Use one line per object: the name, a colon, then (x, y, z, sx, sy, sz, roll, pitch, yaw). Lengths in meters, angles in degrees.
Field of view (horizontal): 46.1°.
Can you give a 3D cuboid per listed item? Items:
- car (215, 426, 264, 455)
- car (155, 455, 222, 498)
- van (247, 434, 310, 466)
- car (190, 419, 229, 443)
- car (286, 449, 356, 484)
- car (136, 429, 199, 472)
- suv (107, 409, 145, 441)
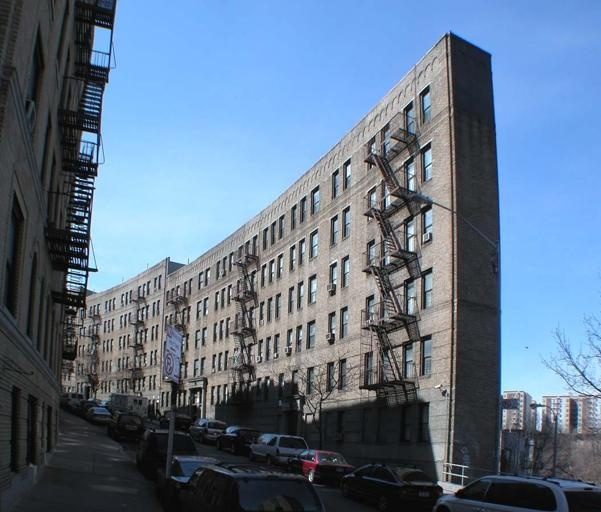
car: (-3.401, 10.133, 38.778, 1.240, 1.002, 2.785, 9, -19, -18)
car: (-3.092, 5.737, 18.827, 1.262, 0.983, 2.757, 7, -15, -19)
van: (-1.096, 9.026, 33.279, 1.403, 0.999, 2.659, 8, -16, -19)
car: (-5.898, 11.158, 45.372, 1.400, 1.063, 2.949, 7, -13, -23)
car: (0.788, 8.370, 28.647, 1.639, 1.251, 3.664, 11, -17, -21)
car: (-4.797, 6.903, 25.010, 1.374, 1.342, 2.495, 7, -13, -19)
suv: (-9.700, 9.505, 39.394, 1.322, 1.425, 2.796, 7, -11, -24)
